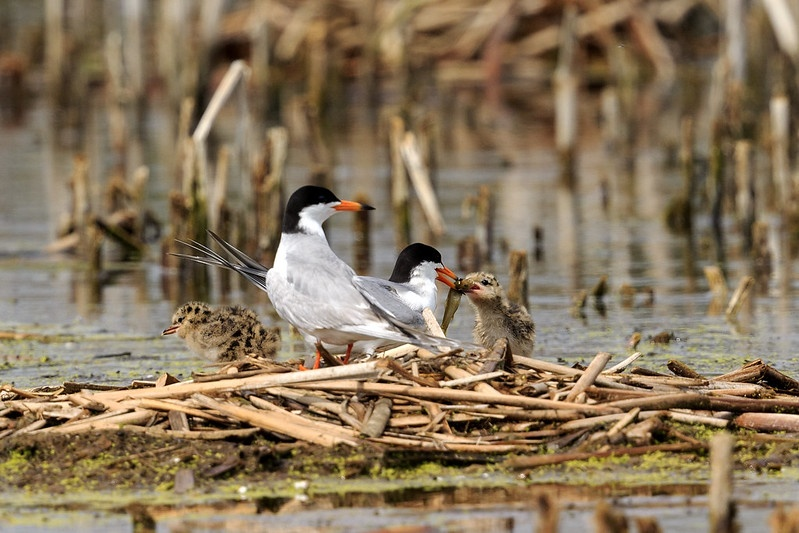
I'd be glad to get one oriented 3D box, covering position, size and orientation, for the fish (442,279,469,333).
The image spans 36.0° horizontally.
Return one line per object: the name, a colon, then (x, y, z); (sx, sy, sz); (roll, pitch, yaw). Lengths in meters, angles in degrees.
fish: (0.764, 0.557, 16.549); (0.155, 0.703, 0.298); (28, -15, -9)
